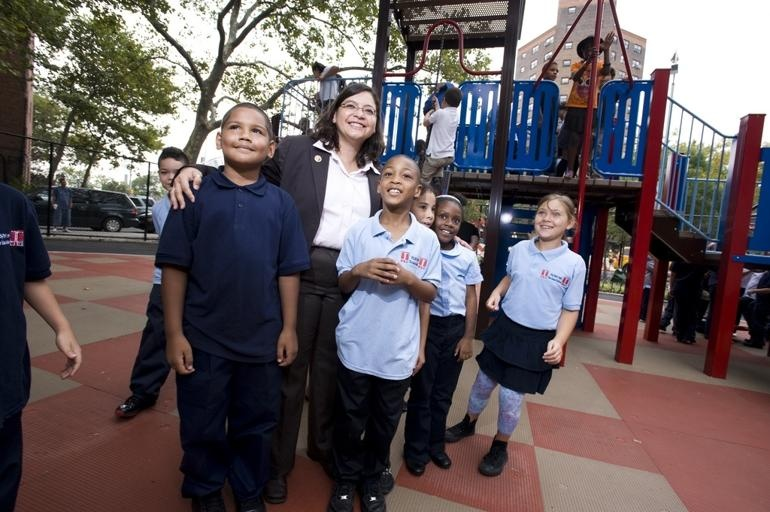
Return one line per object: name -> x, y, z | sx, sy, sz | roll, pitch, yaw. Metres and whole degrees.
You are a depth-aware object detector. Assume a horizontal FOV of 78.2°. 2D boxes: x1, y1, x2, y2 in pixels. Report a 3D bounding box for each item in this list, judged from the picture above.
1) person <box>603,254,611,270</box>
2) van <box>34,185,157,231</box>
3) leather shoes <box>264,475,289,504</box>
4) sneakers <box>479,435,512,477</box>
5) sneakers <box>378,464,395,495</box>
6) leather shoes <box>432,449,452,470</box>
person -> 10.854, 0.308, 23.396 | 0.420, 0.771, 0.752 | -4, -18, 24
van -> -10.374, -1.691, 17.519 | 4.394, 1.519, 2.025 | 4, 1, -36
leather shoes -> -0.903, 1.946, 3.961 | 0.110, 0.111, 0.264 | 3, -7, -13
sneakers -> 1.014, 1.838, 4.411 | 0.350, 0.299, 0.165 | -5, 12, -44
sneakers -> 0.006, 1.931, 4.075 | 0.103, 0.128, 0.283 | 0, -7, 0
leather shoes -> 0.515, 1.876, 4.395 | 0.121, 0.072, 0.203 | 0, -4, -27
